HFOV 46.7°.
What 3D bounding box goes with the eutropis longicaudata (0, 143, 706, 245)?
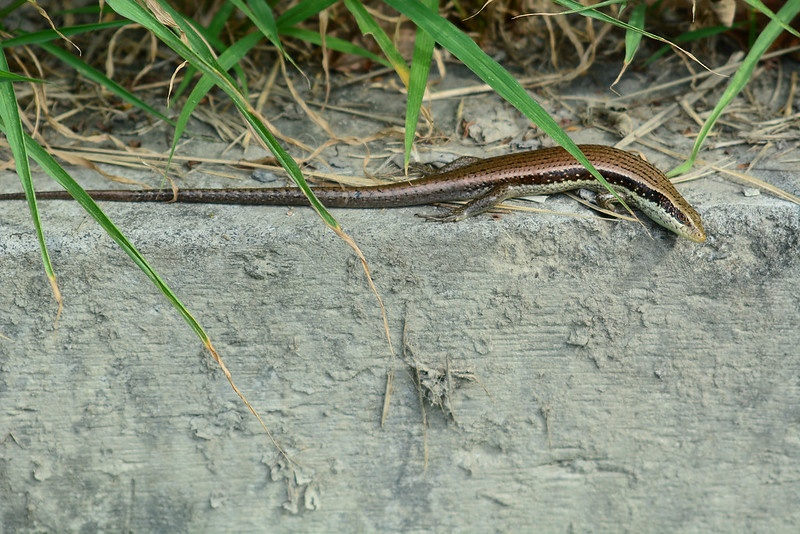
[{"bbox_3d":[-0.215,-0.317,4.269,2.573,0.182,0.484,1,37,3],"label":"eutropis longicaudata"}]
